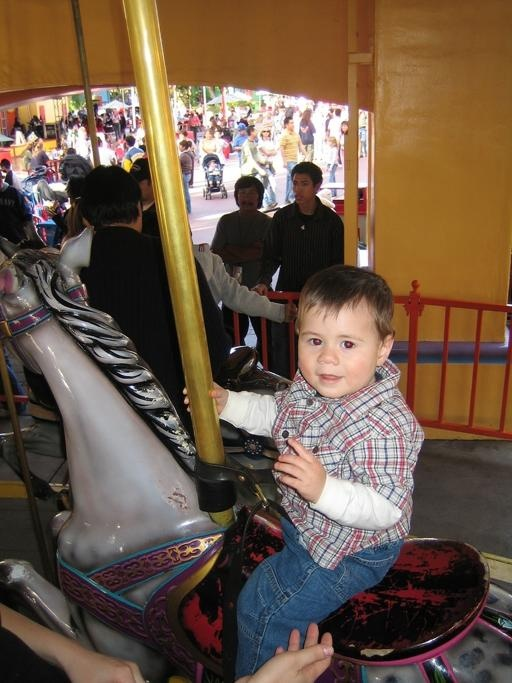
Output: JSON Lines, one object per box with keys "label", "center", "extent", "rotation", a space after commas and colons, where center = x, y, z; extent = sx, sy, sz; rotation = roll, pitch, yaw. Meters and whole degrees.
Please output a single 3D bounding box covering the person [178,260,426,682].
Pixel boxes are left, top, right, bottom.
{"label": "person", "center": [0.127, 0.227, 1.010], "extent": [0.425, 0.697, 0.555], "rotation": [-6, 20, -3]}
